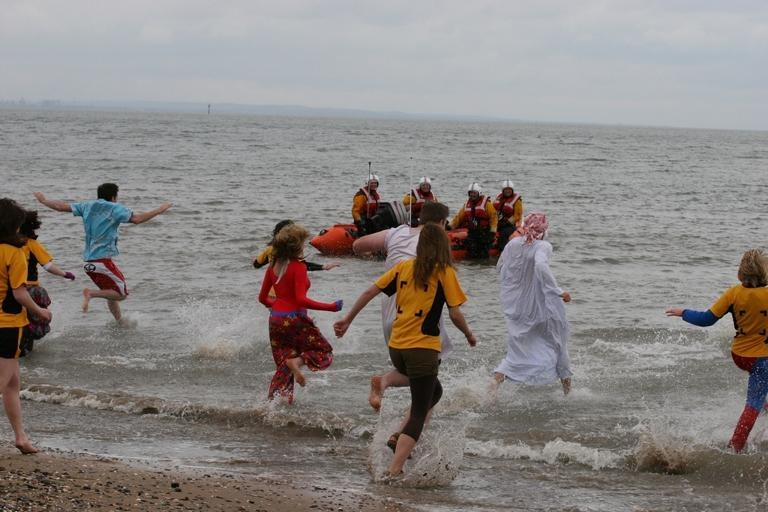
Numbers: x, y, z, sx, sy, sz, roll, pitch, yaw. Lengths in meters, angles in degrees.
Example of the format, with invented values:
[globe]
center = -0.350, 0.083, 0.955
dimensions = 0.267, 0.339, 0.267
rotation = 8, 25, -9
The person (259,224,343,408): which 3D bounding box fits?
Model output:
[person]
center = -1.451, 0.968, 20.931
dimensions = 1.218, 3.017, 0.702
rotation = 4, 9, 9
